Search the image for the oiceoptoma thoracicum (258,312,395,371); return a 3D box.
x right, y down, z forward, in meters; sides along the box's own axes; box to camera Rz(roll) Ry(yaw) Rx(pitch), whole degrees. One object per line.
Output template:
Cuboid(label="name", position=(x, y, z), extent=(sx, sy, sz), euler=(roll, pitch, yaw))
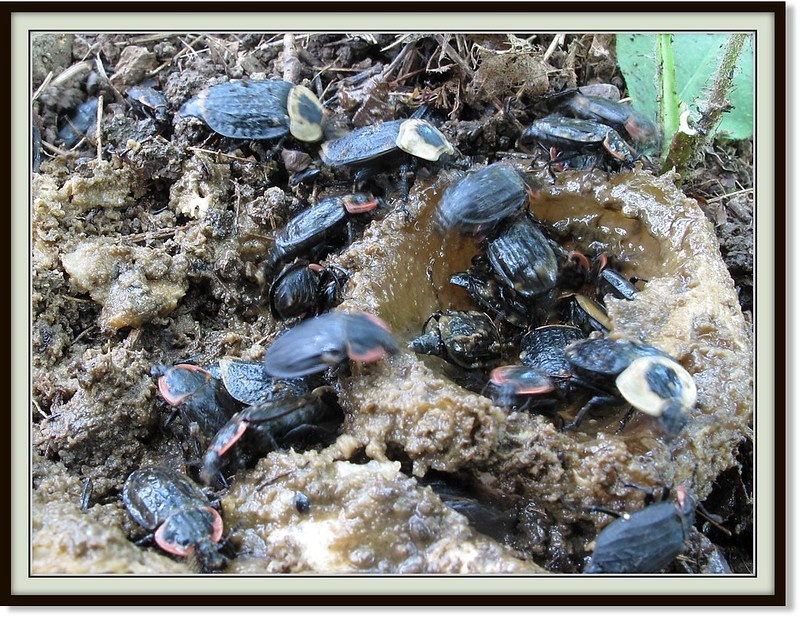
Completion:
Cuboid(label="oiceoptoma thoracicum", position=(-0.359, 0.165, 4.903), extent=(0.477, 0.181, 0.332), euler=(-15, 20, 11))

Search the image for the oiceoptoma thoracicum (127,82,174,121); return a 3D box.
Cuboid(label="oiceoptoma thoracicum", position=(-1.581, -1.302, 6.044), extent=(0.205, 0.076, 0.271), euler=(-5, 45, -41))

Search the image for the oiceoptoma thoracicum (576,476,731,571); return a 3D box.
Cuboid(label="oiceoptoma thoracicum", position=(1.155, 1.077, 4.538), extent=(0.626, 0.219, 0.244), euler=(-20, 46, -10))

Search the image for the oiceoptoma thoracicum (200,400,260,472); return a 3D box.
Cuboid(label="oiceoptoma thoracicum", position=(-0.884, 0.680, 4.904), extent=(0.348, 0.100, 0.244), euler=(-63, 27, -4))
